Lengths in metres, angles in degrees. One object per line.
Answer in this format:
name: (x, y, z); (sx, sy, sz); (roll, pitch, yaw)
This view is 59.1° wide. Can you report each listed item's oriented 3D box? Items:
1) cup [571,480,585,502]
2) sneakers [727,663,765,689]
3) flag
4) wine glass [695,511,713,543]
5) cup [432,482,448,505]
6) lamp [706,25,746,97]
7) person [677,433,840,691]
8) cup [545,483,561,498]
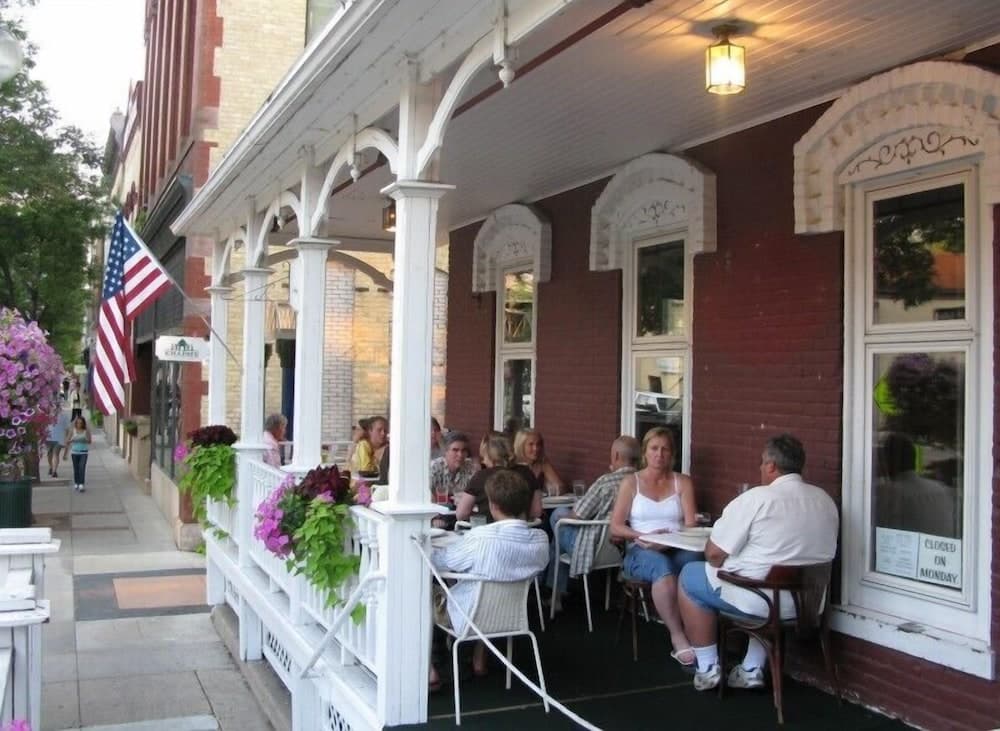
cup: (0.782, 1.239, 8.863); (0.148, 0.228, 0.144); (1, 1, 0)
sneakers: (1.736, 2.204, 6.286); (0.134, 0.127, 0.297); (3, -5, -18)
flag: (-3.786, -0.582, 9.045); (0.660, 2.130, 1.132); (1, -3, -25)
wine glass: (1.708, 1.336, 7.363); (0.179, 0.259, 0.168); (-3, -3, 2)
cup: (-0.576, 1.224, 8.360); (0.143, 0.163, 0.143); (0, -3, 0)
lamp: (1.512, -2.028, 5.964); (0.332, 0.441, 0.347); (0, 2, 13)
person: (1.891, 1.467, 6.461); (1.155, 1.802, 1.090); (-6, -17, 37)
cup: (0.526, 1.259, 8.898); (0.125, 0.108, 0.101); (-3, -1, 21)
